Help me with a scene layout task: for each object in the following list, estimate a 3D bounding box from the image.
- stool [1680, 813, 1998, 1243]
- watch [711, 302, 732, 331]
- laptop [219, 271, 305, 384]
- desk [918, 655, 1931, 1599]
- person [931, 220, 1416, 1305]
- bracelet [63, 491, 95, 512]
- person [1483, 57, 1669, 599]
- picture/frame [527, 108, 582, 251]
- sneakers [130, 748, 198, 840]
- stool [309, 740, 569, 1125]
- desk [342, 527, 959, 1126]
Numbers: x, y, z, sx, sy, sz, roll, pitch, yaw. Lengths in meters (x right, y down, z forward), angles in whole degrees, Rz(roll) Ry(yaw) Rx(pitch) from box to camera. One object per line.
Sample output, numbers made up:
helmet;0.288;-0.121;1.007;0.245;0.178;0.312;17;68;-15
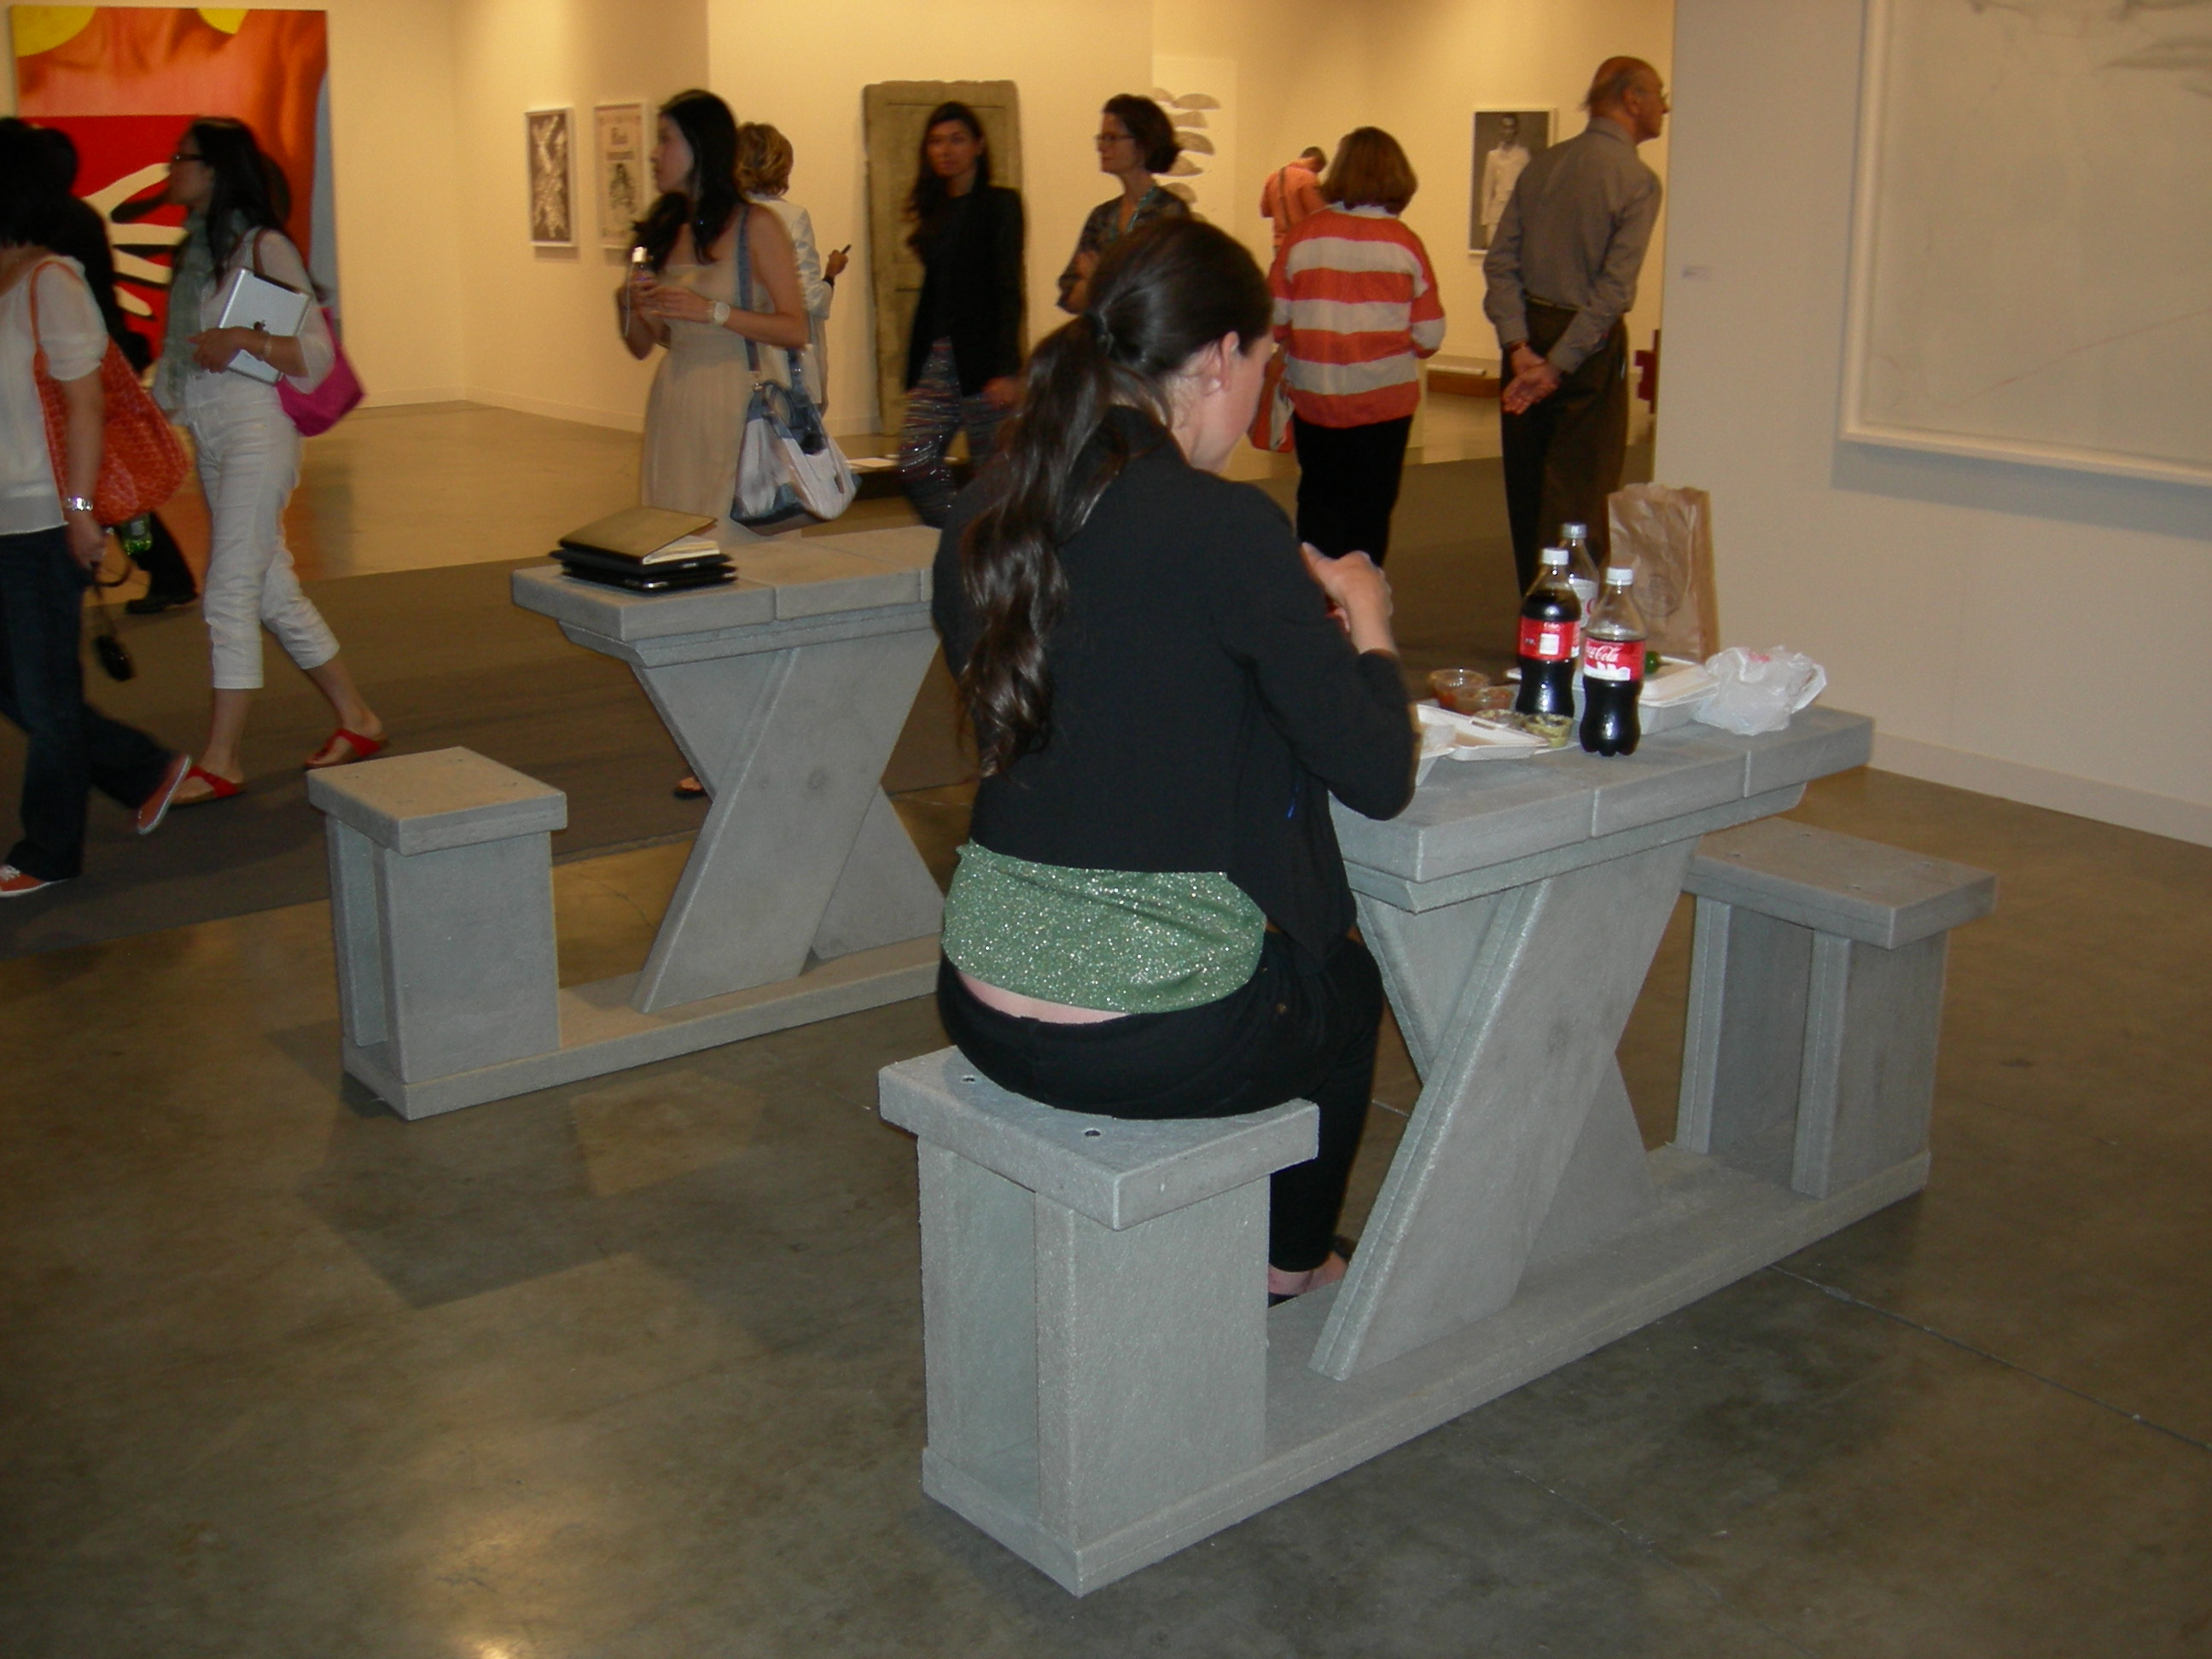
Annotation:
stool;1.489;0.241;3.558;0.807;0.873;0.579;-11;16;-42
watch;-1.103;-1.469;4.937;0.059;0.066;0.043;-1;21;0
laptop;-2.521;-1.496;5.123;0.258;0.268;0.062;11;6;-36
desk;0.673;0.370;2.906;2.029;1.043;0.583;-12;19;-35
person;0.093;0.065;2.458;0.676;1.738;0.401;-4;21;-7
bracelet;-2.711;-0.860;4.556;0.035;0.052;0.061;15;27;36
person;1.742;-1.801;6.476;0.733;1.996;0.641;19;28;42
picture/frame;-4.200;-4.993;13.162;0.117;1.224;0.883;-10;20;-35
sneakers;-2.835;-0.108;5.194;0.139;0.341;0.125;13;26;-18
stool;-1.554;0.261;3.799;0.536;0.735;0.563;-4;-9;32
desk;-1.019;-0.049;4.022;1.439;1.046;0.469;-13;22;-40
